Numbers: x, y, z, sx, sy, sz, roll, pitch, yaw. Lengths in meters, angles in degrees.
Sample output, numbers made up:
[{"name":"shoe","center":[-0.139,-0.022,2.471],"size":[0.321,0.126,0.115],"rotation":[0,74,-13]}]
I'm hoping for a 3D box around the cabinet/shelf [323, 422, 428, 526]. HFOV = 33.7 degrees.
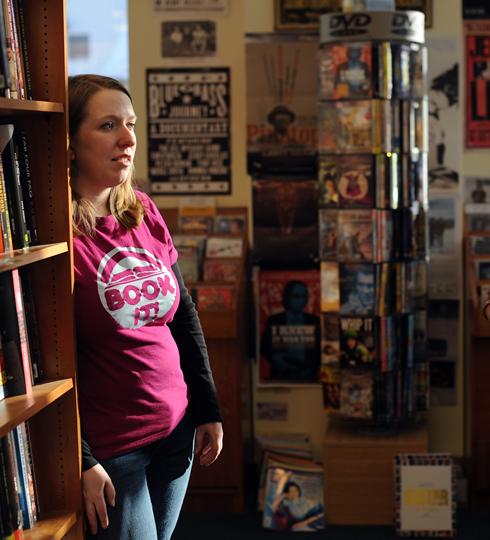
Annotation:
[{"name":"cabinet/shelf","center":[0.527,0.848,3.340],"size":[0.382,0.396,0.411],"rotation":[-1,1,2]}]
